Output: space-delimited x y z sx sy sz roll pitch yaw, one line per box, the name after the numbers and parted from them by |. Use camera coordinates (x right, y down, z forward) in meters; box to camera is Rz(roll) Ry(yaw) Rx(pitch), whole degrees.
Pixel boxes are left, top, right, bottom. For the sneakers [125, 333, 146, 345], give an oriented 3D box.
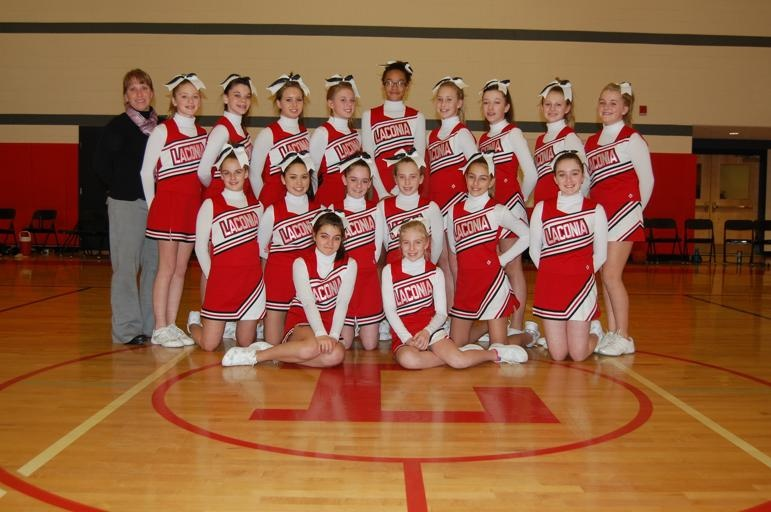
-2.343 0.782 6.268 0.191 0.075 0.074 4 6 28 | sneakers

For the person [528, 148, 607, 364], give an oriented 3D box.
1.596 0.014 5.905 0.661 1.834 0.396 3 12 13 | person

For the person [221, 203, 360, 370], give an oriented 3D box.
-0.662 0.300 5.635 0.850 1.240 0.890 8 9 35 | person

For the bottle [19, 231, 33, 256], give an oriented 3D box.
-7.259 -0.234 13.471 0.192 0.484 0.464 -7 13 -32 | bottle

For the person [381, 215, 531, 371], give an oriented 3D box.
0.469 0.392 5.566 1.343 1.158 0.865 13 21 41 | person
